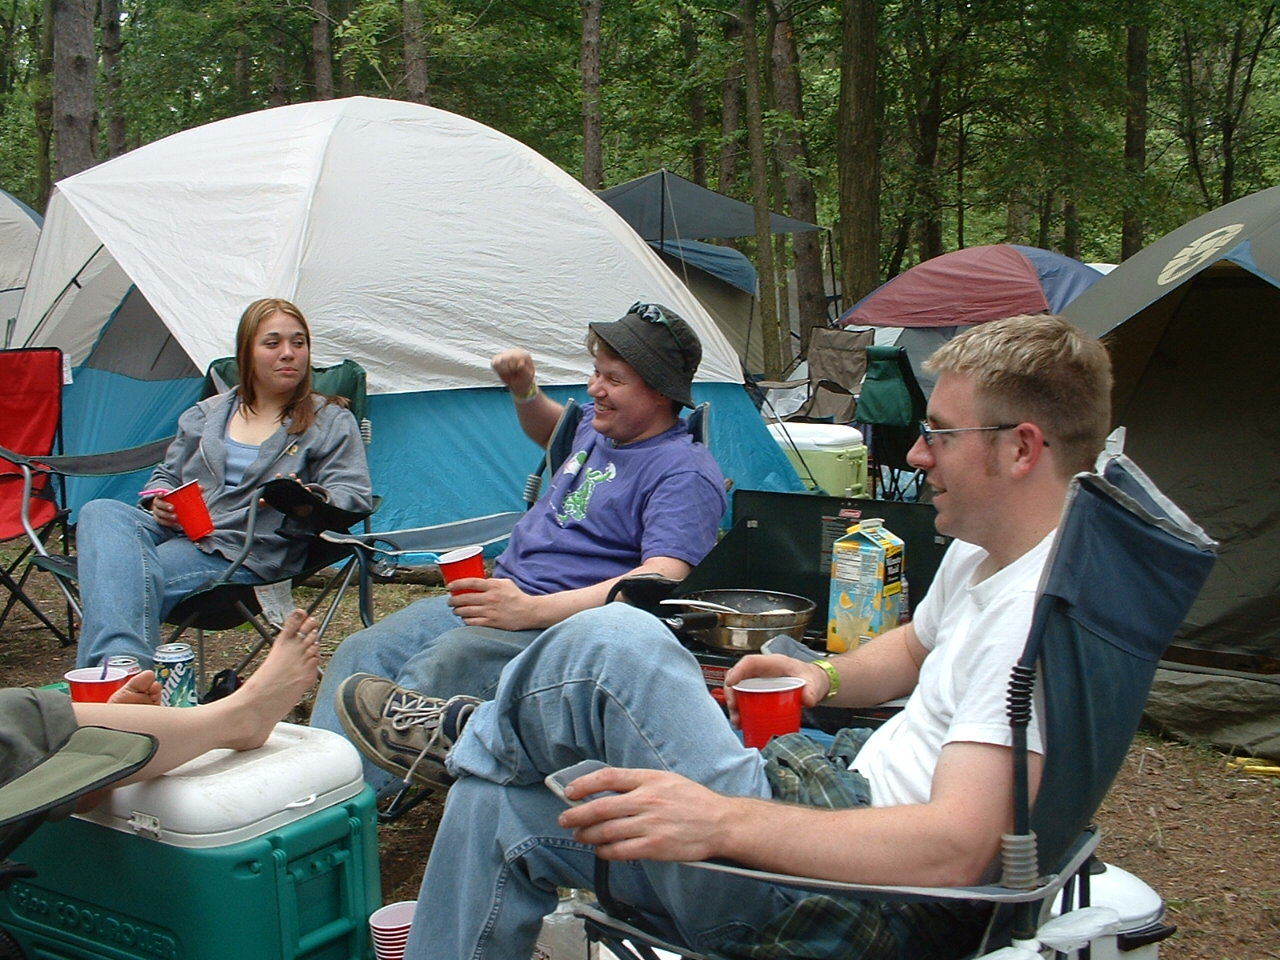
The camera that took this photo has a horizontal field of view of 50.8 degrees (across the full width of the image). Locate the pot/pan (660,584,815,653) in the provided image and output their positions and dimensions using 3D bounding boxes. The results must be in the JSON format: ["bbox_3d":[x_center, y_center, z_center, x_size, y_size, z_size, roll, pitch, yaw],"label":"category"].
[{"bbox_3d":[0.290,0.396,3.867,0.347,0.093,0.197,-3,2,-15],"label":"pot/pan"}]

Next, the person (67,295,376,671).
[{"bbox_3d":[-1.568,0.102,4.901,0.979,1.368,1.036,12,11,27],"label":"person"}]

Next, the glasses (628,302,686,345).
[{"bbox_3d":[0.059,-0.499,4.259,0.113,0.045,0.154,32,4,8],"label":"glasses"}]

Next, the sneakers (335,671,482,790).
[{"bbox_3d":[-0.526,0.653,3.547,0.507,0.188,0.211,20,-41,-16],"label":"sneakers"}]

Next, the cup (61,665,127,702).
[{"bbox_3d":[-1.363,0.501,3.392,0.107,0.059,0.106,0,8,0],"label":"cup"}]

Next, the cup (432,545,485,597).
[{"bbox_3d":[-0.518,0.258,3.941,0.132,0.085,0.127,-16,10,3],"label":"cup"}]

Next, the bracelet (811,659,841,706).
[{"bbox_3d":[0.457,0.495,3.332,0.078,0.094,0.111,9,-11,-9],"label":"bracelet"}]

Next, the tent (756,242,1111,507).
[{"bbox_3d":[2.221,-1.039,10.091,2.504,1.414,2.348,-3,7,21],"label":"tent"}]

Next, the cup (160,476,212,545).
[{"bbox_3d":[-1.593,0.106,4.769,0.164,0.210,0.120,0,2,-10],"label":"cup"}]

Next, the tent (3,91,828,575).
[{"bbox_3d":[-2.062,-0.631,7.716,3.260,1.704,3.120,-6,12,-40],"label":"tent"}]

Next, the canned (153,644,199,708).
[{"bbox_3d":[-1.215,0.526,3.580,0.103,0.152,0.096,-4,2,27],"label":"canned"}]
